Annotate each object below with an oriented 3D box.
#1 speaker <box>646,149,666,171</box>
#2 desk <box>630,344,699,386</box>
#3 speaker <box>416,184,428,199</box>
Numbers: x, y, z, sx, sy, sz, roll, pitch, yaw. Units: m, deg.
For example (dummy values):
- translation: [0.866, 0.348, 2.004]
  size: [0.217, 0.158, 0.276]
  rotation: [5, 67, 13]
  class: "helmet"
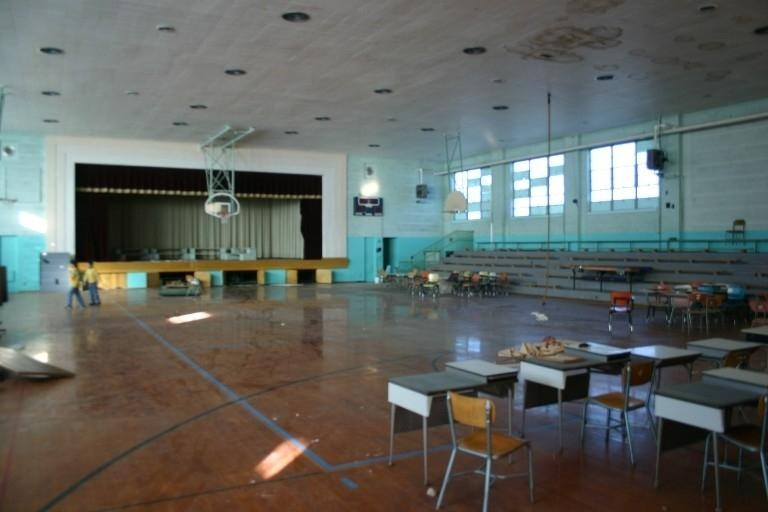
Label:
- translation: [9.303, -3.256, 17.712]
  size: [0.893, 0.767, 0.355]
  rotation: [-3, 2, -39]
  class: "speaker"
- translation: [3.565, 1.313, 6.730]
  size: [0.718, 0.604, 0.683]
  rotation: [0, -1, -25]
  class: "desk"
- translation: [1.831, -3.158, 25.585]
  size: [0.504, 0.838, 0.912]
  rotation: [-1, -2, 18]
  class: "speaker"
